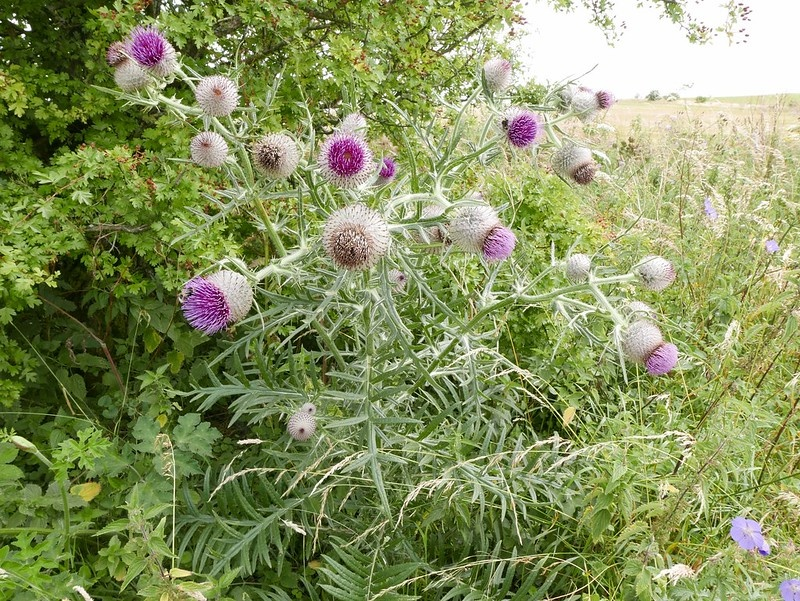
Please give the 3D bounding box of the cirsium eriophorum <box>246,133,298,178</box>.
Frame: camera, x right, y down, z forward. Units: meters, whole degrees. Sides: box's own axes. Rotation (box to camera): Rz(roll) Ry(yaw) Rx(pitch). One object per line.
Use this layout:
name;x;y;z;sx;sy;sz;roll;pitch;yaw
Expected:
cirsium eriophorum;-0.614;-0.710;3.500;0.210;0.222;0.221;-9;52;4

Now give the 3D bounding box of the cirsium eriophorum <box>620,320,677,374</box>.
cirsium eriophorum;1.211;0.212;3.513;0.292;0.210;0.164;45;-5;-13

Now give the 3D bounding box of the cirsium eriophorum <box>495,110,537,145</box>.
cirsium eriophorum;0.639;-0.904;3.741;0.218;0.158;0.139;24;12;5

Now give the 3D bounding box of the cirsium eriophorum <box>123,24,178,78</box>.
cirsium eriophorum;-1.245;-1.255;3.582;0.263;0.207;0.227;18;13;-22

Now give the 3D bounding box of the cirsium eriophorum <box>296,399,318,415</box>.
cirsium eriophorum;-0.483;0.563;3.718;0.067;0.059;0.038;20;45;-23

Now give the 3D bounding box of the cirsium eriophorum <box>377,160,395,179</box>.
cirsium eriophorum;-0.057;-0.729;3.844;0.110;0.115;0.116;-1;32;3

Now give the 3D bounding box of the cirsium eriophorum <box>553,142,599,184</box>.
cirsium eriophorum;0.986;-0.781;3.939;0.317;0.192;0.243;-10;3;-10

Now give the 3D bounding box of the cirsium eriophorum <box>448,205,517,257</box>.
cirsium eriophorum;0.388;-0.315;3.342;0.195;0.175;0.294;16;7;-23

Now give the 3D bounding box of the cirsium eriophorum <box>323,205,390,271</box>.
cirsium eriophorum;-0.215;-0.300;3.302;0.382;0.386;0.191;1;52;9

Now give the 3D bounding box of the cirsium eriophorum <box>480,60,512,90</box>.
cirsium eriophorum;0.528;-1.213;3.823;0.167;0.130;0.118;22;12;-2

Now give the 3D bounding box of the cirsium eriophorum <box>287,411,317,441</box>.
cirsium eriophorum;-0.511;0.644;3.725;0.134;0.160;0.072;-2;0;-12
